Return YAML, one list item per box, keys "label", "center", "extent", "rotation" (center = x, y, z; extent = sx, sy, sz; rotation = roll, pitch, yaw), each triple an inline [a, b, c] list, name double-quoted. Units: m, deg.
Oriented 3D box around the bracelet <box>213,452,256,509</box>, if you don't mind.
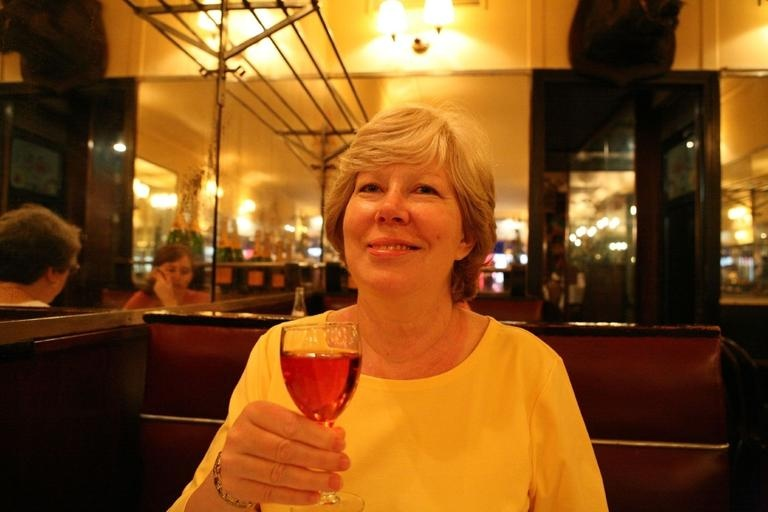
- label: "bracelet"
  center: [-0.546, 0.844, 2.501]
  extent: [0.205, 0.201, 0.056]
  rotation: [16, 17, 29]
